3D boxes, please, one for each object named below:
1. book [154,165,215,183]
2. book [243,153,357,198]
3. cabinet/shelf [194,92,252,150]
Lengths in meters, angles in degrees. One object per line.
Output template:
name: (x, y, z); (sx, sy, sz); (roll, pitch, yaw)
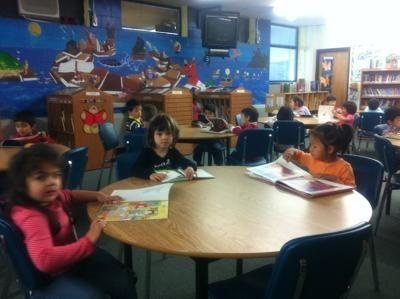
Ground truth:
book: (-0.105, 0.153, 2.013); (0.372, 0.058, 0.255); (-7, 15, -23)
book: (0.600, 0.153, 1.935); (0.394, 0.095, 0.612); (-9, 16, -30)
cabinet/shelf: (0.385, -0.456, 4.859); (0.569, 1.014, 1.037); (-5, 12, -32)
